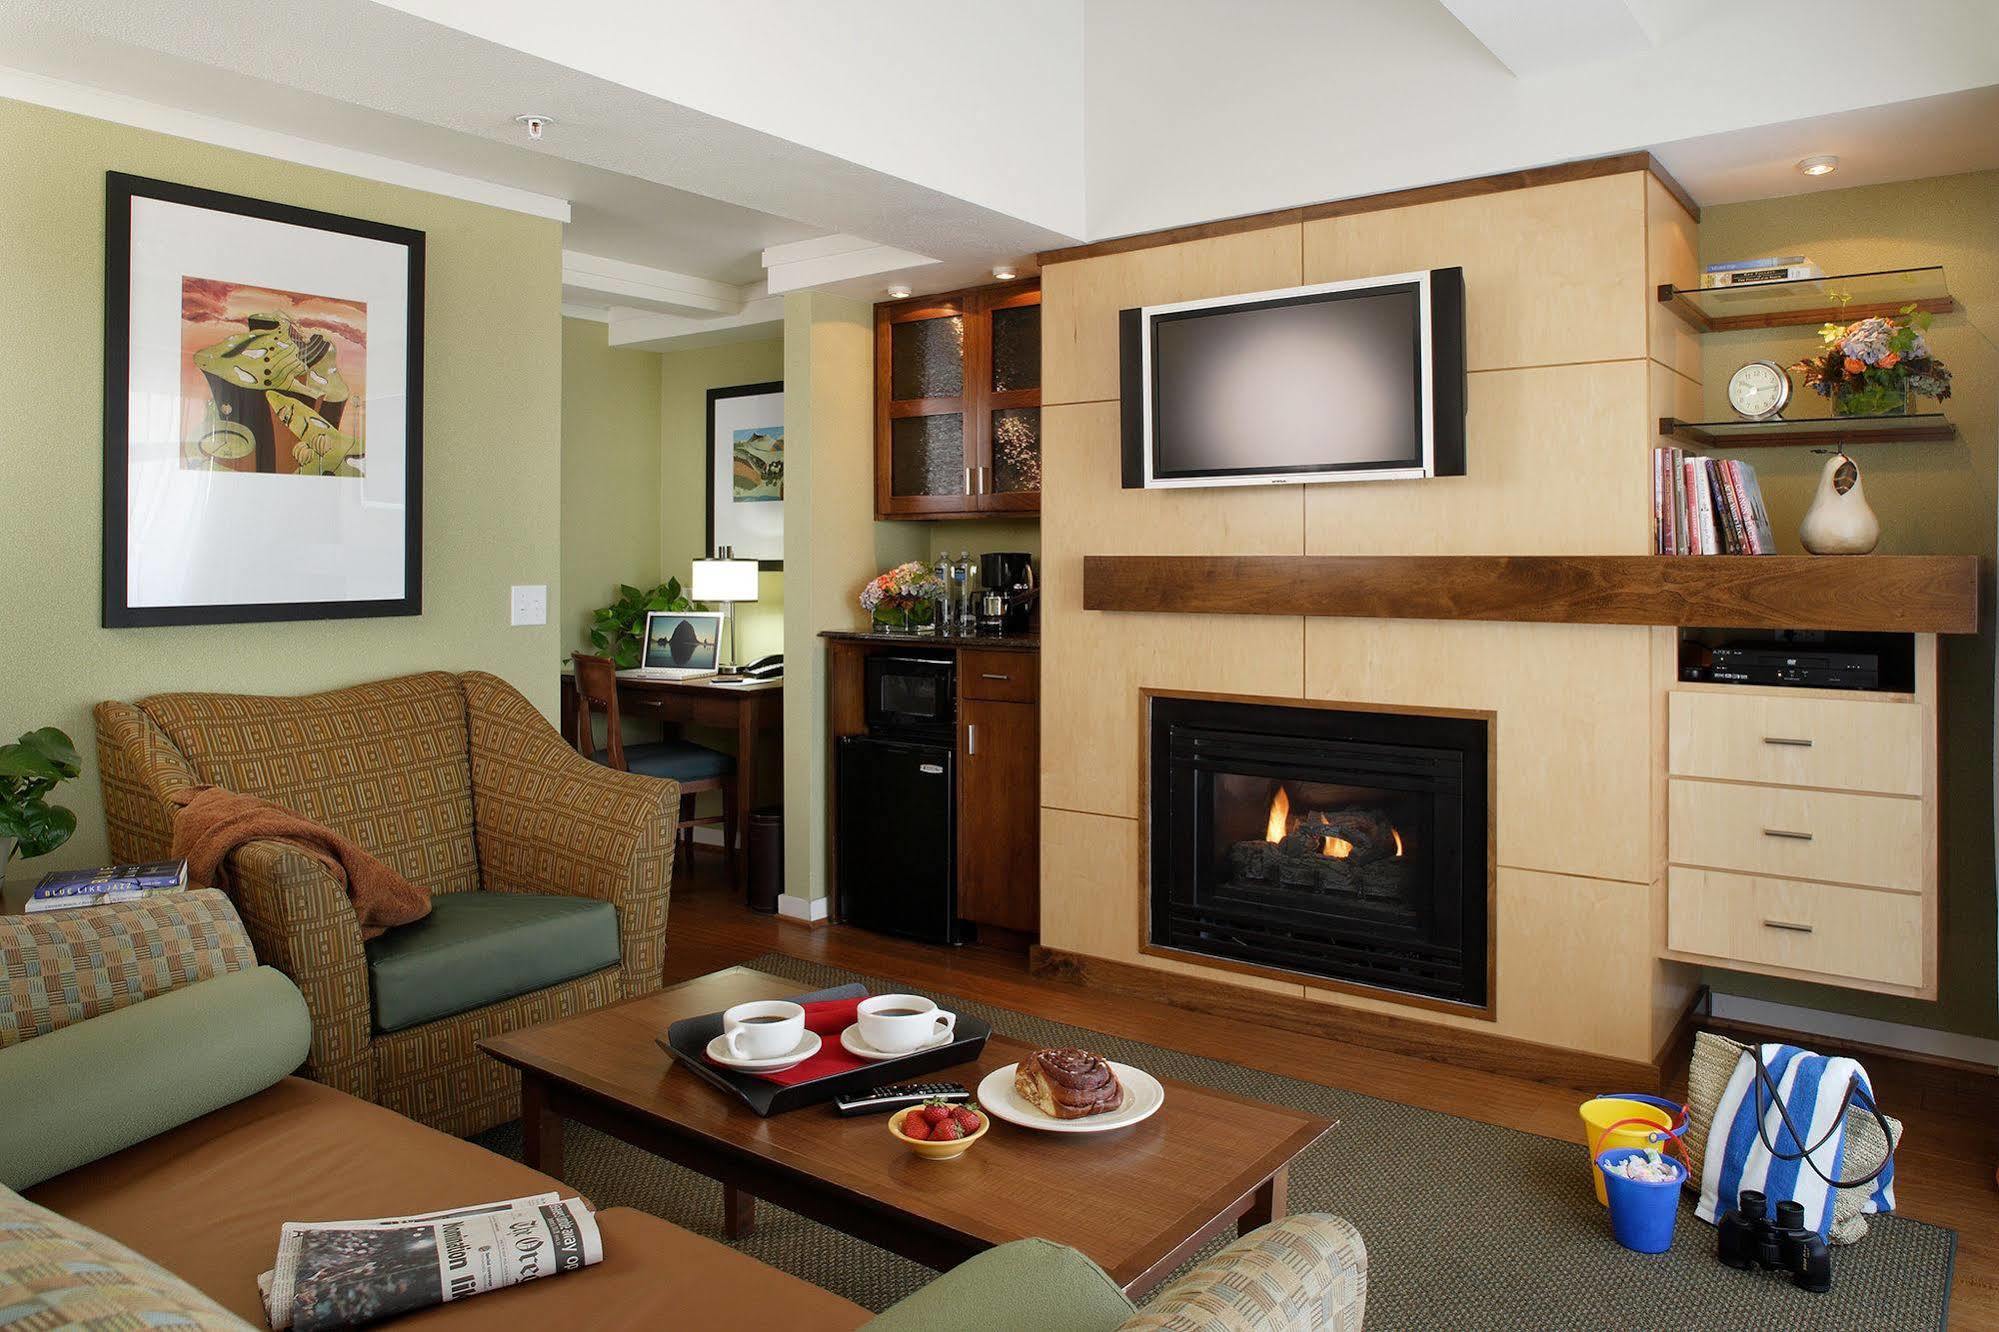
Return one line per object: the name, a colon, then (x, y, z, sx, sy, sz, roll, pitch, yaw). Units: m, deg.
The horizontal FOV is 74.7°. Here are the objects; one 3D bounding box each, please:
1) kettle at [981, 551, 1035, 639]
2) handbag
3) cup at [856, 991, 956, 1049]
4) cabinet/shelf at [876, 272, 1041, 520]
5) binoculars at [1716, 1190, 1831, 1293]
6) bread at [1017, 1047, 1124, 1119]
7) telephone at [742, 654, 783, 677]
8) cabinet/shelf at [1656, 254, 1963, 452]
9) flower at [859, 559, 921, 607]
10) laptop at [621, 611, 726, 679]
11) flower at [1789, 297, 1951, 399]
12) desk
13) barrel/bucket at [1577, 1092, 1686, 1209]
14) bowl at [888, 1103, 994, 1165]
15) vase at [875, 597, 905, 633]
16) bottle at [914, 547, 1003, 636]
kettle: (0.047, -0.304, 5.676, 0.237, 0.326, 0.270, -2, 13, -2)
handbag: (2.055, 1.264, 3.431, 0.465, 0.456, 0.260, 8, 4, 34)
cup: (-0.234, 0.824, 3.089, 0.160, 0.071, 0.125, 4, 2, 18)
cabinet/shelf: (-0.022, -1.101, 5.700, 1.050, 0.982, 0.398, 4, 7, 33)
binoculars: (1.943, 1.454, 3.278, 0.075, 0.180, 0.208, -1, 2, -43)
bread: (0.135, 0.911, 2.903, 0.132, 0.072, 0.183, -1, -1, -30)
telephone: (-1.128, 0.012, 6.405, 0.147, 0.073, 0.205, -1, 3, 34)
cabinet/shelf: (2.601, -0.984, 4.235, 0.749, 0.448, 0.407, 9, 8, 42)
flower: (-0.506, -0.340, 5.793, 0.222, 0.216, 0.321, -9, 15, -31)
laptop: (-1.619, -0.108, 6.716, 0.472, 0.312, 0.300, 1, 0, 15)
flower: (2.760, -0.953, 4.122, 0.436, 0.267, 0.378, -7, 15, -21)
desk: (-1.567, 0.379, 6.545, 1.125, 0.815, 0.439, 9, 25, 24)
barrel/bucket: (1.691, 1.251, 3.538, 0.278, 0.245, 0.255, -4, 10, 1)
bowl: (-0.125, 0.948, 2.737, 0.140, 0.068, 0.141, 1, -1, 0)
vase: (-0.469, -0.213, 5.738, 0.148, 0.145, 0.144, 1, -3, -4)
bottle: (-0.169, -0.305, 5.746, 0.402, 0.388, 0.200, 4, 5, 40)
